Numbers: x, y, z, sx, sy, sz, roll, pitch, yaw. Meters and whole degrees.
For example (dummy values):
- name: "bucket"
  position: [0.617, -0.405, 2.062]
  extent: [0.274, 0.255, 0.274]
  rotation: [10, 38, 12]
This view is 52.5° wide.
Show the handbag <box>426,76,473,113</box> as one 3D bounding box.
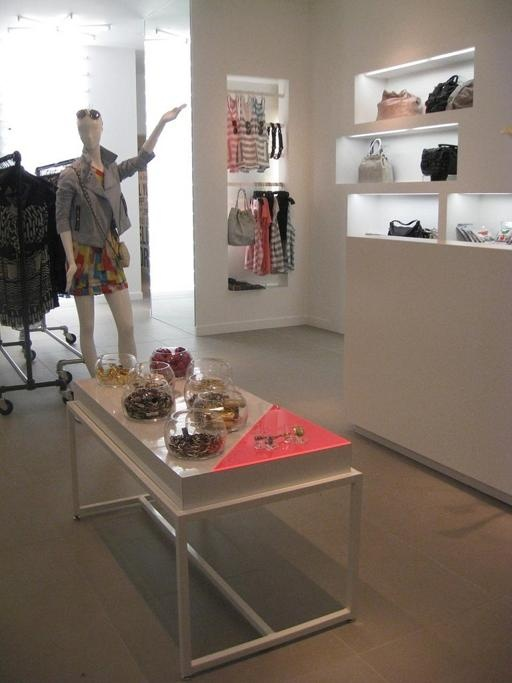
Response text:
- name: "handbag"
  position: [1.546, -1.957, 4.126]
  extent: [0.273, 0.163, 0.400]
  rotation: [-14, 21, -14]

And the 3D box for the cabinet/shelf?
- name: "cabinet/shelf"
  position: [1.450, -1.694, 4.631]
  extent: [0.513, 1.510, 1.991]
  rotation: [-5, 16, -23]

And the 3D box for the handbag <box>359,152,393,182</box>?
- name: "handbag"
  position: [1.191, -1.715, 5.117]
  extent: [0.192, 0.392, 0.279]
  rotation: [-15, 22, -39]

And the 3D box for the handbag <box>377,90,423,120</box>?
- name: "handbag"
  position: [1.268, -2.124, 4.676]
  extent: [0.407, 0.292, 0.263]
  rotation: [19, 33, 41]

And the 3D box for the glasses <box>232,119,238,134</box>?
- name: "glasses"
  position: [-0.209, -2.204, 5.310]
  extent: [0.038, 0.129, 0.082]
  rotation: [1, 13, 6]

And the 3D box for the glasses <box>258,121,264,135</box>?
- name: "glasses"
  position: [0.055, -2.230, 5.408]
  extent: [0.088, 0.136, 0.030]
  rotation: [-13, 20, -43]

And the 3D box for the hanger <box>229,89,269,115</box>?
- name: "hanger"
  position: [-0.087, -2.469, 5.437]
  extent: [0.461, 0.282, 0.253]
  rotation: [-4, 16, -19]

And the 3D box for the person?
- name: "person"
  position: [-0.811, -0.510, 2.951]
  extent: [0.574, 1.518, 0.367]
  rotation: [-5, 15, -22]

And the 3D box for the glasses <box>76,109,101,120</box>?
- name: "glasses"
  position: [-0.892, -1.211, 2.767]
  extent: [0.100, 0.044, 0.115]
  rotation: [-6, 19, -24]

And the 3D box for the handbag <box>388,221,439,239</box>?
- name: "handbag"
  position: [1.451, -1.063, 4.846]
  extent: [0.388, 0.140, 0.504]
  rotation: [4, 16, 10]

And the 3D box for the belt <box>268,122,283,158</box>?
- name: "belt"
  position: [0.218, -2.156, 5.540]
  extent: [0.090, 0.341, 0.226]
  rotation: [3, 10, 3]

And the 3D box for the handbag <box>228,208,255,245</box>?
- name: "handbag"
  position: [-0.152, -1.195, 5.405]
  extent: [0.317, 0.471, 0.191]
  rotation: [0, 14, -6]

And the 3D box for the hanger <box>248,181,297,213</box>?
- name: "hanger"
  position: [0.195, -1.608, 5.617]
  extent: [0.523, 0.248, 0.412]
  rotation: [-2, 15, -9]
